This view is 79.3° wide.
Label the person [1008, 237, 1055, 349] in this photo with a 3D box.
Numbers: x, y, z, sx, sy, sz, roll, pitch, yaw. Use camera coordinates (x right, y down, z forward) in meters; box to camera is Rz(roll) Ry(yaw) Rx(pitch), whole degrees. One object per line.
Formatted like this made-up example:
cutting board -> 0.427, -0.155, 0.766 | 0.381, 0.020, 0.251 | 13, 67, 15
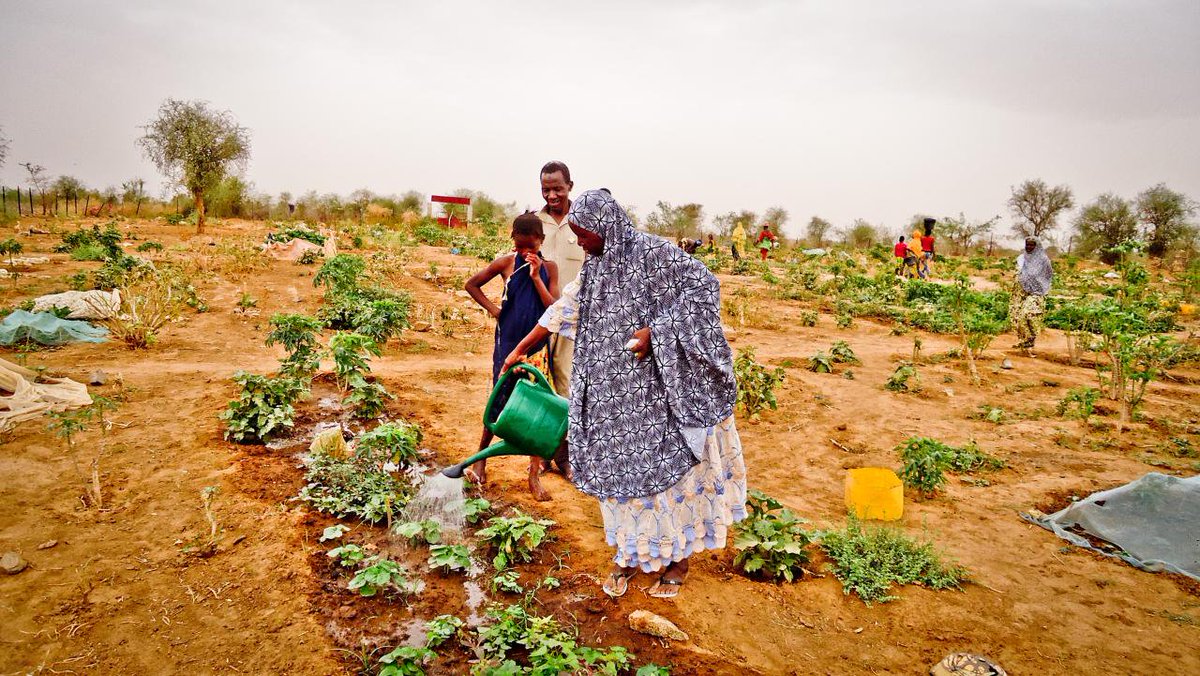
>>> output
person -> 8.398, -0.869, 14.117 | 0.615, 2.136, 1.128 | 11, 12, 28
